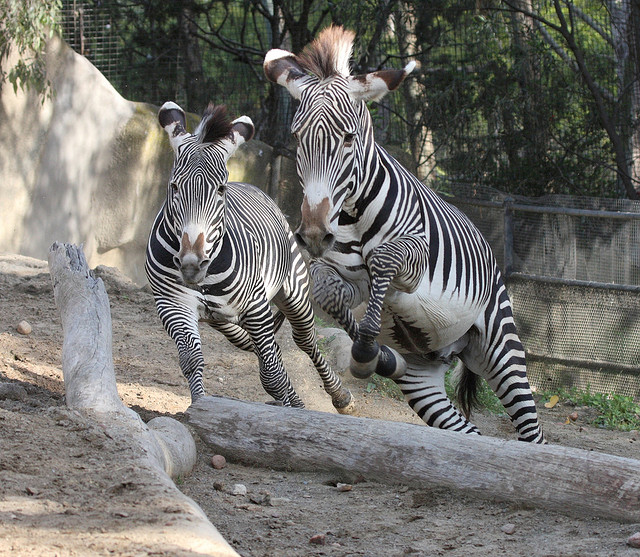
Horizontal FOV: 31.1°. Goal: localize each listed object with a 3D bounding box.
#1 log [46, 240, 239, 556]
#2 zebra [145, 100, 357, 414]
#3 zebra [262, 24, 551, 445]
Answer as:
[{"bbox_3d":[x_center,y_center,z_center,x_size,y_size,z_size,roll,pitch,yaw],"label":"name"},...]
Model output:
[{"bbox_3d":[-1.363,0.639,7.799,0.830,1.297,2.797,2,10,-34],"label":"log"},{"bbox_3d":[-0.700,-0.002,9.449,0.911,2.660,3.836,-4,-2,10],"label":"zebra"},{"bbox_3d":[0.864,-0.333,9.628,1.020,3.748,2.325,-13,35,28],"label":"zebra"}]
